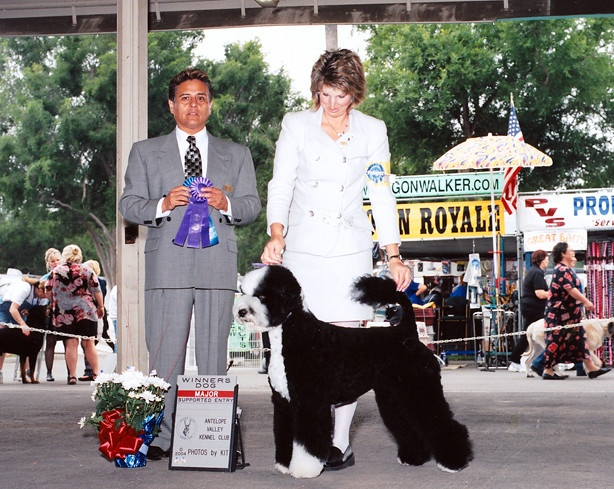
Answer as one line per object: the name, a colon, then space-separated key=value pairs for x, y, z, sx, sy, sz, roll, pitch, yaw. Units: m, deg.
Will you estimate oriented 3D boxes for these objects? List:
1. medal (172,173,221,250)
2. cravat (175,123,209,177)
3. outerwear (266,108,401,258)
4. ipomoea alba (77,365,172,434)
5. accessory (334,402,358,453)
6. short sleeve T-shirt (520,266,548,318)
medal: x=-1.105 y=-0.299 z=10.901 sx=0.458 sy=0.703 sz=0.203 roll=-1 pitch=-1 yaw=-7
cravat: x=-1.142 y=-0.932 z=11.020 sx=0.291 sy=0.534 sz=0.134 roll=1 pitch=4 yaw=-6
outerwear: x=0.219 y=-0.539 z=10.754 sx=1.272 sy=1.471 sz=0.517 roll=2 pitch=-8 yaw=-1
ipomoea alba: x=-1.866 y=1.542 z=11.015 sx=0.727 sy=0.572 sz=0.720 roll=1 pitch=6 yaw=35
accessory: x=0.378 y=1.803 z=10.850 sx=0.183 sy=0.547 sz=0.228 roll=12 pitch=20 yaw=16
short sleeve T-shirt: x=3.587 y=0.800 z=17.145 sx=0.511 sy=0.928 sz=0.857 roll=-1 pitch=-1 yaw=3
